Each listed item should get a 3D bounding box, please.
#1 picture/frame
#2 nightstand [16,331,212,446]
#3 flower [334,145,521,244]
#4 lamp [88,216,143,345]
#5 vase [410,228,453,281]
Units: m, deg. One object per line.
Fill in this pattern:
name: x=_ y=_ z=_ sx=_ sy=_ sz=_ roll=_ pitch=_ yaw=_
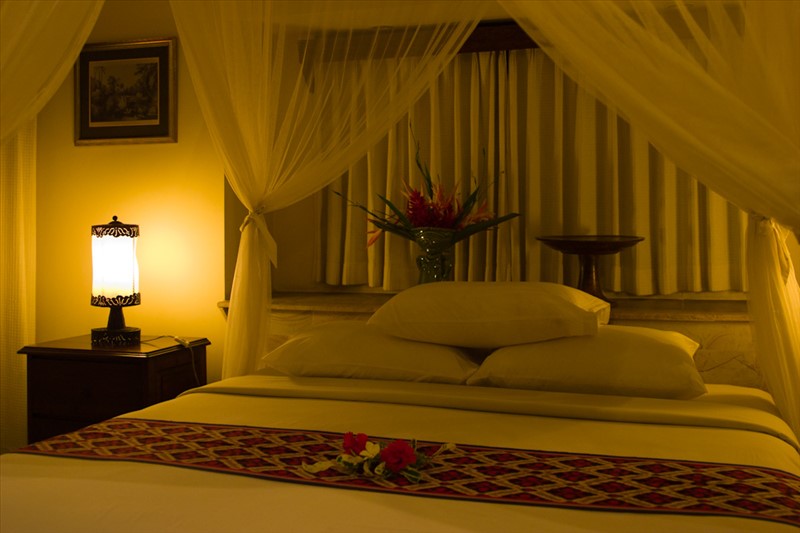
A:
picture/frame: x=-1.469 y=-0.967 z=3.409 sx=0.607 sy=0.546 sz=0.048 roll=1 pitch=4 yaw=13
nightstand: x=-1.483 y=0.765 z=3.247 sx=0.768 sy=0.738 sz=0.619 roll=1 pitch=-1 yaw=1
flower: x=0.193 y=-0.234 z=3.062 sx=0.661 sy=0.465 sz=0.857 roll=6 pitch=-8 yaw=-7
lamp: x=-1.472 y=0.084 z=3.232 sx=0.287 sy=0.608 sz=0.271 roll=0 pitch=0 yaw=-11
vase: x=0.123 y=-0.057 z=2.842 sx=0.212 sy=0.291 sz=0.212 roll=-1 pitch=1 yaw=-21
